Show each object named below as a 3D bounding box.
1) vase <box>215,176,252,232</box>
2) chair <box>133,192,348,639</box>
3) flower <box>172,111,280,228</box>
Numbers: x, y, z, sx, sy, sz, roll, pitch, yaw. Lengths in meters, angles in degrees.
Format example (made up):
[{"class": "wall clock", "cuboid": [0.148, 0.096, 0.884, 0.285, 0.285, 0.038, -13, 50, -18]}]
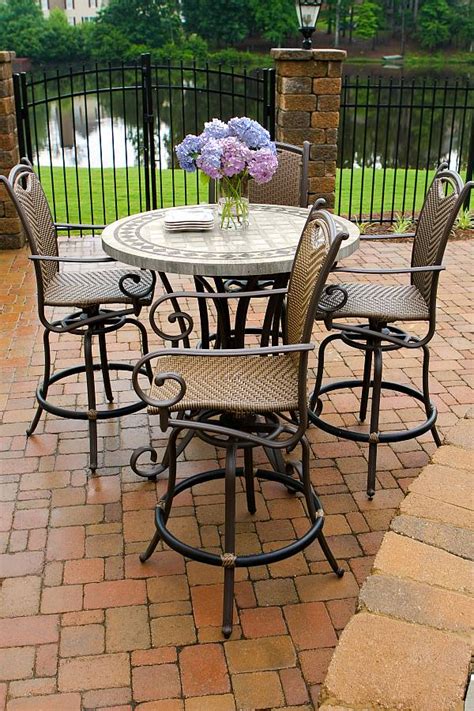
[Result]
[{"class": "vase", "cuboid": [-0.016, -0.731, 2.702, 0.152, 0.256, 0.157, 2, 11, 8]}, {"class": "chair", "cuboid": [0.020, 0.138, 1.996, 0.771, 1.271, 0.973, -4, 12, 10]}, {"class": "flower", "cuboid": [0.005, -0.876, 2.663, 0.490, 0.521, 0.506, -4, 28, 17]}]
